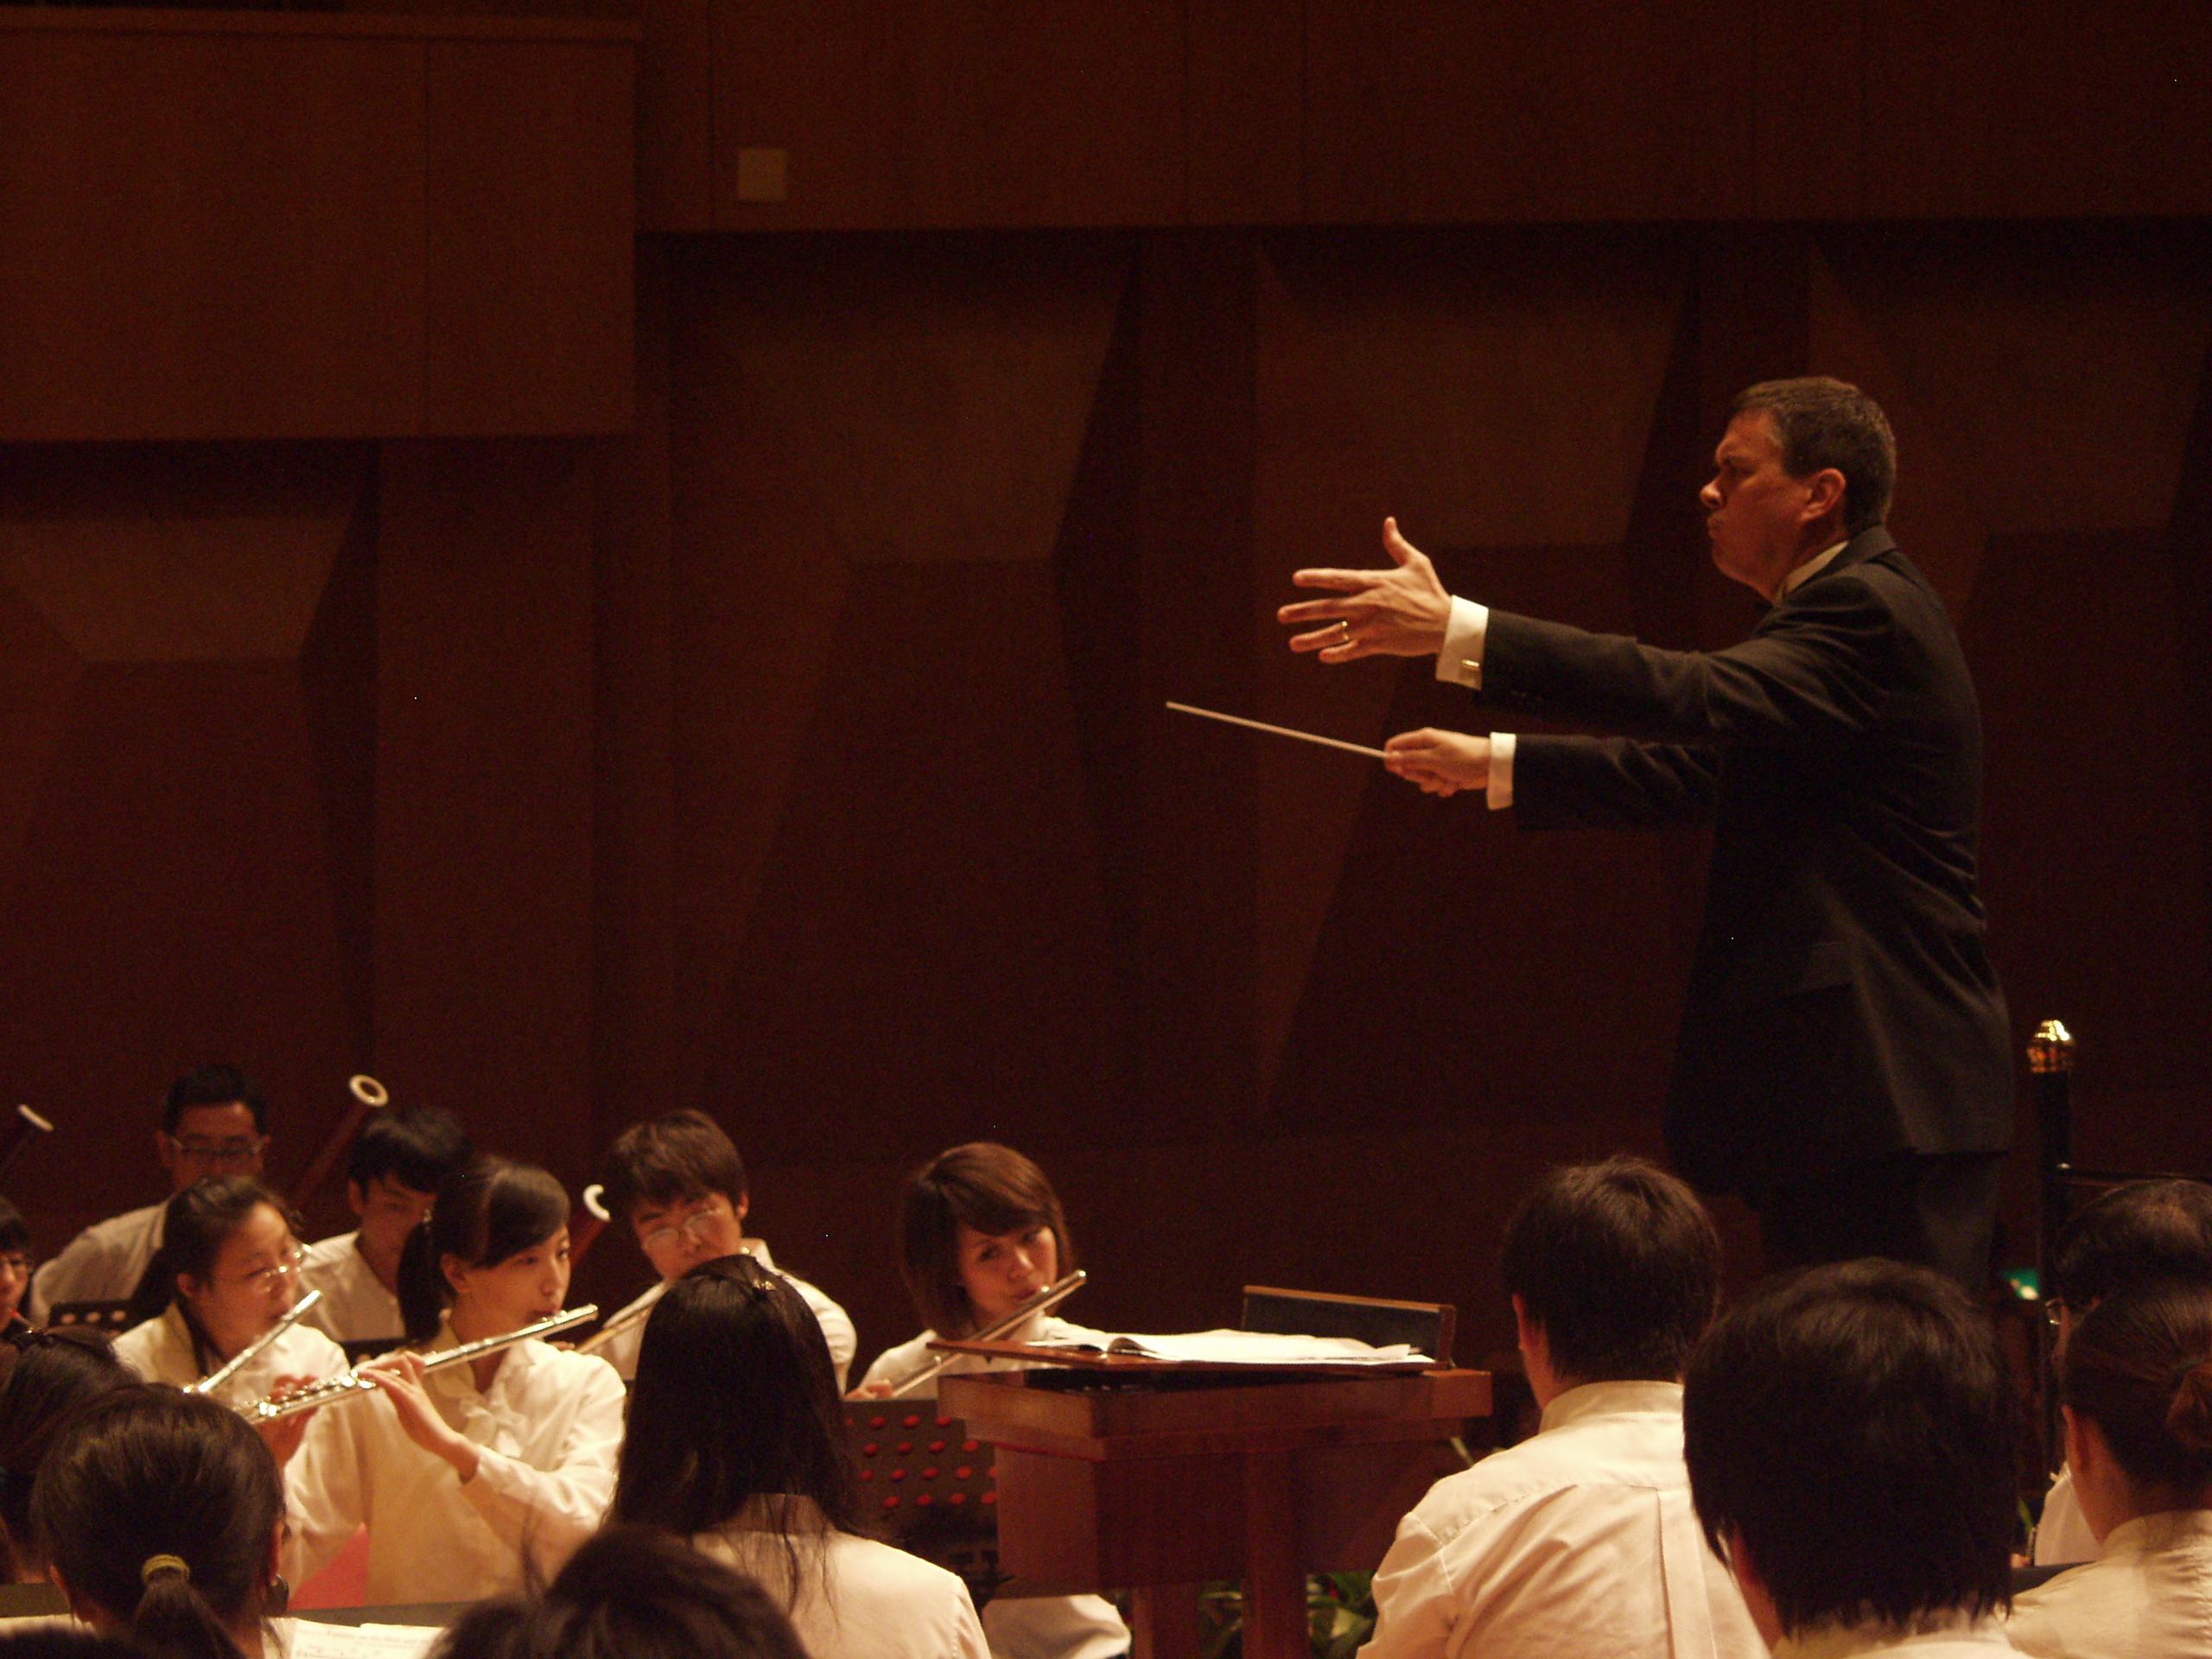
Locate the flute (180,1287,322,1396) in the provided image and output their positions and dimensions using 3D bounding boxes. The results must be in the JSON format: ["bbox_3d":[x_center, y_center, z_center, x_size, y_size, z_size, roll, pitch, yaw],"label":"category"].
[{"bbox_3d":[-1.681,0.994,4.844,0.375,0.101,0.055,-39,-22,6],"label":"flute"}]

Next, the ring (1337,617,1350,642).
[{"bbox_3d":[0.388,-0.338,4.066,0.014,0.031,0.014,-2,-7,0],"label":"ring"}]

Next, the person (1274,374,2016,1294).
[{"bbox_3d":[0.984,0.039,4.156,0.928,1.807,0.945,-5,11,-43],"label":"person"}]
